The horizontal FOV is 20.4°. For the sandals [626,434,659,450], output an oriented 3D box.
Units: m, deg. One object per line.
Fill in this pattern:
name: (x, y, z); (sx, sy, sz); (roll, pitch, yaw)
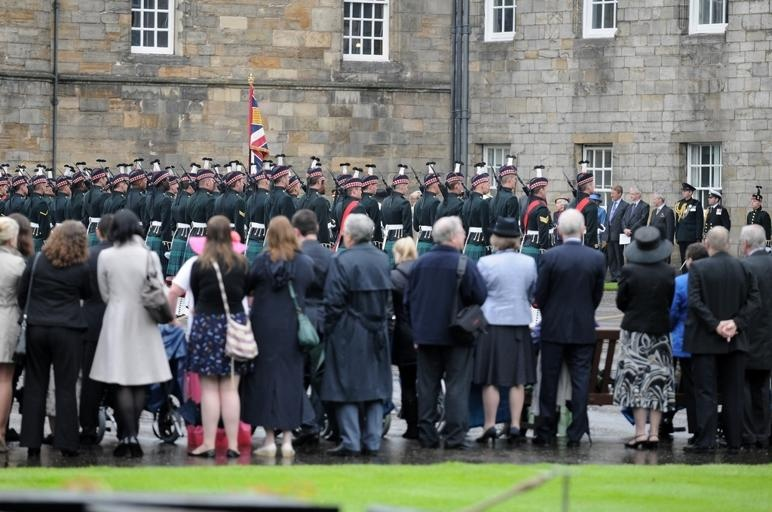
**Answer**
sandals: (3.546, 2.494, 29.365); (0.444, 0.196, 0.233); (0, -2, 0)

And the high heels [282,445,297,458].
high heels: (-1.307, 2.578, 28.890); (0.192, 0.161, 0.242); (0, -2, 0)

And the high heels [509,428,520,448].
high heels: (1.803, 2.440, 29.580); (0.118, 0.128, 0.292); (-1, -26, 0)

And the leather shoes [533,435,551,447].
leather shoes: (2.184, 2.479, 29.470); (0.278, 0.140, 0.159); (0, -2, -3)

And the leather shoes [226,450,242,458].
leather shoes: (-2.044, 2.604, 28.834); (0.194, 0.117, 0.225); (0, -2, -4)

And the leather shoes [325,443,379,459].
leather shoes: (-0.443, 2.561, 29.009); (0.718, 0.259, 0.232); (3, -2, -2)

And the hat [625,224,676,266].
hat: (3.632, -0.159, 29.370); (0.642, 0.518, 0.320); (0, -2, 6)

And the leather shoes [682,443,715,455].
leather shoes: (4.300, 2.581, 29.253); (0.438, 0.160, 0.147); (5, 0, 2)

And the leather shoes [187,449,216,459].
leather shoes: (-2.472, 2.611, 28.814); (0.370, 0.093, 0.127); (5, -1, 23)
